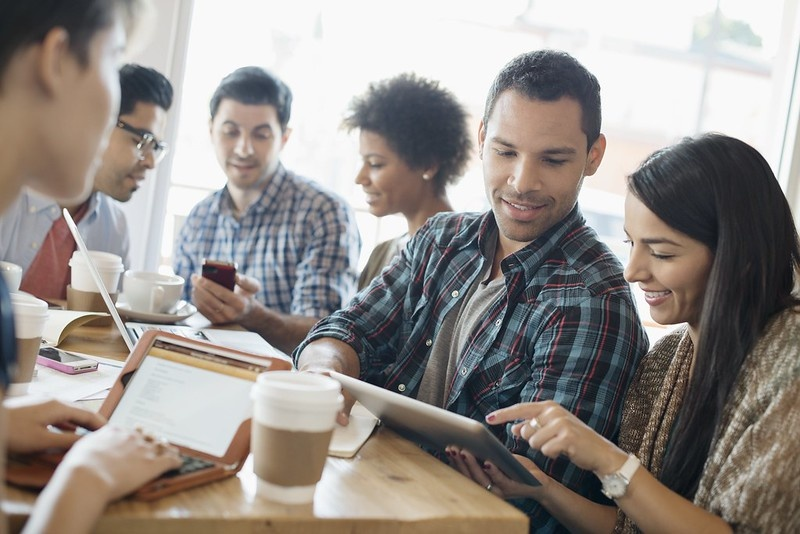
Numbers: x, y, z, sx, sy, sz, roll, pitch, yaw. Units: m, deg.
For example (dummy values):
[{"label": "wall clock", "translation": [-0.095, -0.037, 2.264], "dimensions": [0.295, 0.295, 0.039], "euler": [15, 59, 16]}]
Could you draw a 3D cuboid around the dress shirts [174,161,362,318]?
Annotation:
[{"label": "dress shirts", "translation": [-0.622, -0.114, 2.719], "dimensions": [0.734, 0.594, 0.362], "euler": [11, -3, 25]}]

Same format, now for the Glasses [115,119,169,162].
[{"label": "Glasses", "translation": [-1.110, -0.541, 2.575], "dimensions": [0.161, 0.054, 0.164], "euler": [25, -3, 28]}]

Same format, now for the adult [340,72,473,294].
[{"label": "adult", "translation": [0.143, -0.463, 3.416], "dimensions": [0.906, 1.451, 0.795], "euler": [4, 2, -6]}]

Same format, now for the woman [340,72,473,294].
[{"label": "woman", "translation": [0.123, -0.462, 3.415], "dimensions": [0.906, 1.451, 0.795], "euler": [4, 2, -6]}]

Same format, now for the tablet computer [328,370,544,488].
[{"label": "tablet computer", "translation": [0.097, 0.374, 1.352], "dimensions": [0.412, 0.039, 0.565], "euler": [20, -10, 24]}]

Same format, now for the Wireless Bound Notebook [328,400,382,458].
[{"label": "Wireless Bound Notebook", "translation": [-0.095, 0.354, 1.283], "dimensions": [0.075, 0.011, 0.155], "euler": [17, 9, 8]}]

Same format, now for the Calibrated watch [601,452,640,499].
[{"label": "Calibrated watch", "translation": [0.487, 0.472, 1.331], "dimensions": [0.058, 0.095, 0.095], "euler": [0, 7, 23]}]

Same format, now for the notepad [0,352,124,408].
[{"label": "notepad", "translation": [-0.769, 0.274, 1.392], "dimensions": [0.140, 0.004, 0.156], "euler": [8, 14, 3]}]

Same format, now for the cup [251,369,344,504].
[{"label": "cup", "translation": [-0.190, 0.310, 1.069], "dimensions": [0.189, 0.187, 0.180], "euler": [6, -12, 1]}]

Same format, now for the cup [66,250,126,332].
[{"label": "cup", "translation": [-0.999, 0.079, 2.058], "dimensions": [0.252, 0.275, 0.246], "euler": [4, -2, 0]}]

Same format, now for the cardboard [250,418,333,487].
[{"label": "cardboard", "translation": [-0.188, 0.318, 1.051], "dimensions": [0.116, 0.086, 0.112], "euler": [2, -5, 14]}]

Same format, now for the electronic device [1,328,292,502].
[{"label": "electronic device", "translation": [-0.444, 0.250, 1.069], "dimensions": [0.311, 0.288, 0.191], "euler": [15, -10, 25]}]

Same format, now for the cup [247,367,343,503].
[{"label": "cup", "translation": [-0.177, 0.286, 1.096], "dimensions": [0.202, 0.204, 0.206], "euler": [9, -4, 1]}]

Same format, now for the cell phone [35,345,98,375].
[{"label": "cell phone", "translation": [-0.853, 0.222, 1.505], "dimensions": [0.139, 0.019, 0.067], "euler": [9, 9, 35]}]

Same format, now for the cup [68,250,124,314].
[{"label": "cup", "translation": [-1.009, 0.046, 2.022], "dimensions": [0.112, 0.124, 0.112], "euler": [-2, 11, 0]}]
